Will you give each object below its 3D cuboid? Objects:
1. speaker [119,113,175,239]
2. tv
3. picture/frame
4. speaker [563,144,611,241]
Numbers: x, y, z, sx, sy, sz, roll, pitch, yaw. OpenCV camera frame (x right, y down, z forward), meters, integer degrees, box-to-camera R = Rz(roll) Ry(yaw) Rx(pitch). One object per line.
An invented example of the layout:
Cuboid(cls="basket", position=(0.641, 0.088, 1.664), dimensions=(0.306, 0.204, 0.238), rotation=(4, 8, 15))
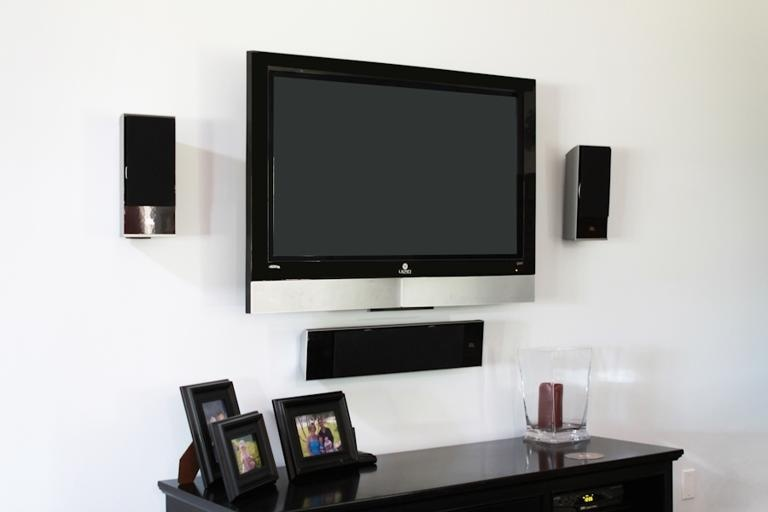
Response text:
Cuboid(cls="speaker", position=(-0.902, -0.285, 2.345), dimensions=(0.203, 0.449, 0.062), rotation=(-4, 11, -39))
Cuboid(cls="tv", position=(-0.019, -0.309, 2.646), dimensions=(1.217, 0.889, 0.122), rotation=(1, -1, -20))
Cuboid(cls="picture/frame", position=(-0.452, 0.686, 2.478), dimensions=(0.374, 0.579, 0.420), rotation=(-11, -10, 41))
Cuboid(cls="speaker", position=(0.971, -0.300, 2.962), dimensions=(0.231, 0.451, 0.121), rotation=(-2, 4, 19))
